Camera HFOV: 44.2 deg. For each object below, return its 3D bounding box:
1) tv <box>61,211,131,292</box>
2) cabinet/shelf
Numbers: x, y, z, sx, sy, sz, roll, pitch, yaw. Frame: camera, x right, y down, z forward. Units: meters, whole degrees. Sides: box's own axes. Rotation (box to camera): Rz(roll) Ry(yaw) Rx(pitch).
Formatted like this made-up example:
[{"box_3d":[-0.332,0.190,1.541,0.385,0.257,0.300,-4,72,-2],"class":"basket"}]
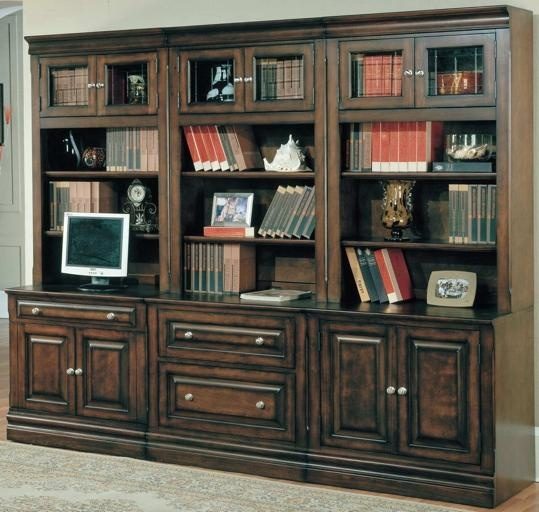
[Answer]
[{"box_3d":[-1.056,-0.039,4.068,0.498,0.488,0.170,1,-4,20],"class":"tv"},{"box_3d":[0.071,0.034,3.543,2.812,2.249,0.765,2,1,24],"class":"cabinet/shelf"}]
